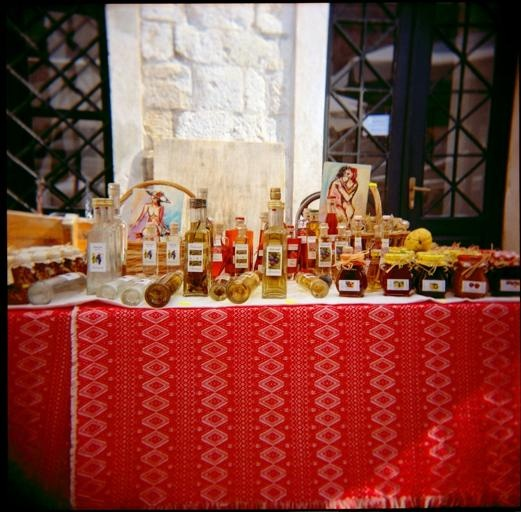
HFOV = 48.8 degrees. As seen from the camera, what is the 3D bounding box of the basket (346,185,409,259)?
[{"bbox_3d":[0.525,-0.132,2.606,0.321,0.375,0.310,-3,0,39],"label":"basket"}]
